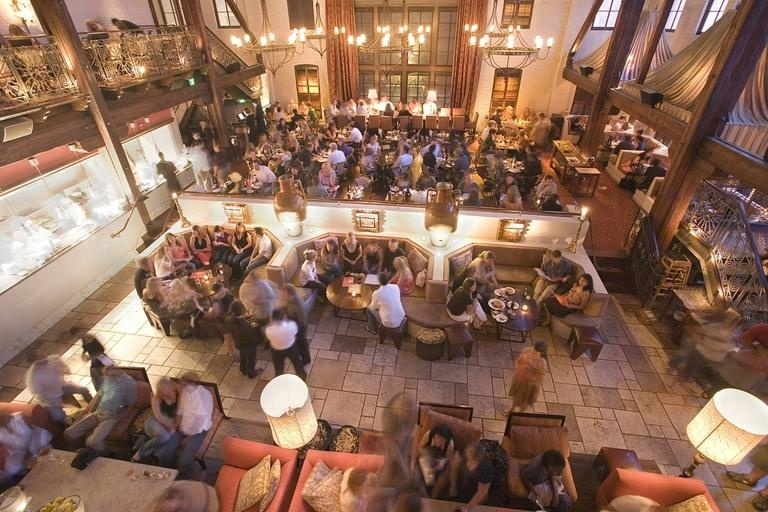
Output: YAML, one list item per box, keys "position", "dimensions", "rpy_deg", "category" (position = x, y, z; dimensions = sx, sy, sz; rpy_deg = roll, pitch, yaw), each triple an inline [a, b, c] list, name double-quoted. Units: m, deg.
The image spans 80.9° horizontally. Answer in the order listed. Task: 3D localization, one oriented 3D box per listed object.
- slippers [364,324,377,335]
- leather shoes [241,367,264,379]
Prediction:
- position: [-0.321, 1.599, 9.957]
  dimensions: [0.330, 0.129, 0.109]
  rpy_deg: [27, 18, 38]
  category: "slippers"
- position: [-2.723, 2.384, 9.230]
  dimensions: [0.230, 0.220, 0.099]
  rpy_deg: [-15, 50, -19]
  category: "leather shoes"
